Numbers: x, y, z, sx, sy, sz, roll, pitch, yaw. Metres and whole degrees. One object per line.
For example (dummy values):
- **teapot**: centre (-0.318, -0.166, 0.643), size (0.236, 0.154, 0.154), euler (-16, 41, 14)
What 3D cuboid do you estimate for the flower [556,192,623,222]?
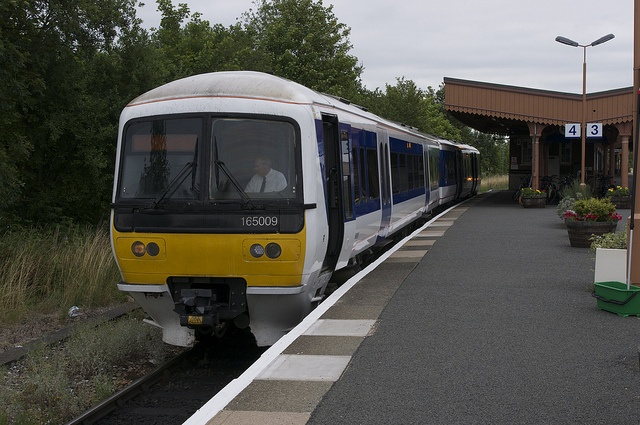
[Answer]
- **flower**: centre (8.028, -0.028, 14.298), size (1.598, 0.927, 1.833), euler (-2, 3, 21)

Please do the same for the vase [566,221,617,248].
- **vase**: centre (7.707, 0.571, 13.484), size (0.925, 0.489, 0.903), euler (4, -2, -17)

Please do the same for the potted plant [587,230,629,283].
- **potted plant**: centre (5.280, 0.836, 8.612), size (0.516, 0.700, 1.065), euler (1, -2, 26)

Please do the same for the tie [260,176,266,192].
- **tie**: centre (-0.848, -0.404, 7.009), size (0.092, 0.231, 0.058), euler (-2, 3, -11)
